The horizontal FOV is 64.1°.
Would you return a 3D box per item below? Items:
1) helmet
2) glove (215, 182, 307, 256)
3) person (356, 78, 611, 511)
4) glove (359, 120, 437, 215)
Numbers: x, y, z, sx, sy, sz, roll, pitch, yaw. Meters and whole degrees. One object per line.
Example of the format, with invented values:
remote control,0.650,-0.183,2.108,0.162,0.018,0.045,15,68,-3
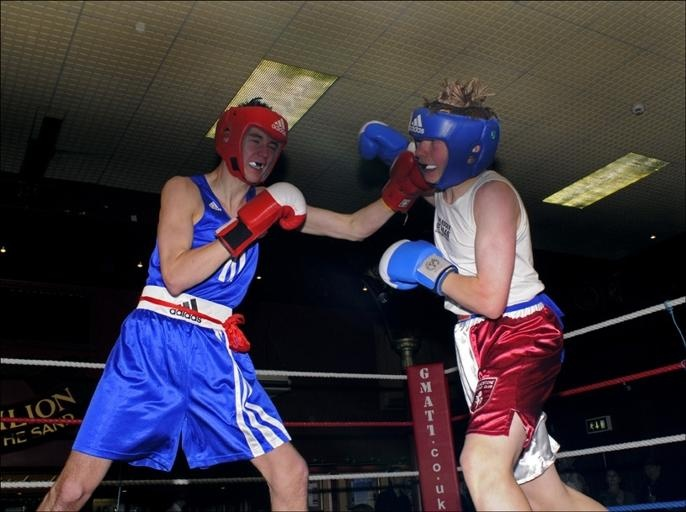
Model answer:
helmet,0.433,-0.394,2.197,0.361,0.264,0.272,11,-6,-10
glove,-0.342,-0.126,2.219,0.228,0.379,0.148,46,-25,1
person,0.559,0.066,1.994,0.478,1.417,0.875,4,10,-36
glove,0.248,-0.434,2.691,0.356,0.430,0.209,-33,-5,15
